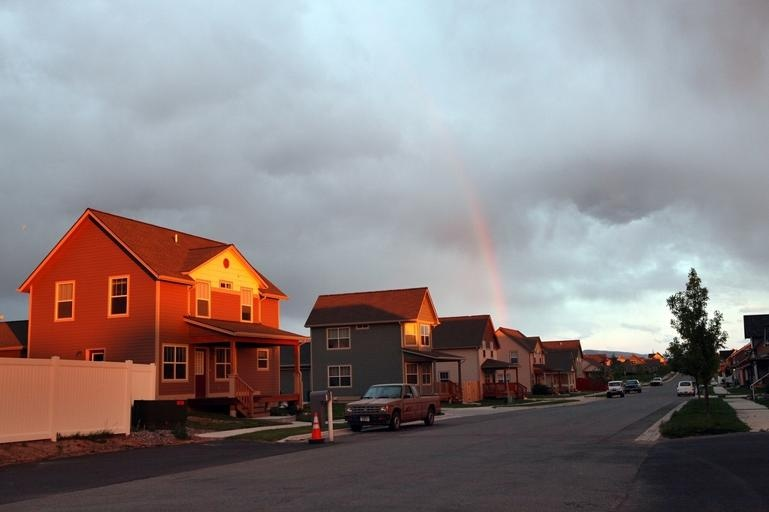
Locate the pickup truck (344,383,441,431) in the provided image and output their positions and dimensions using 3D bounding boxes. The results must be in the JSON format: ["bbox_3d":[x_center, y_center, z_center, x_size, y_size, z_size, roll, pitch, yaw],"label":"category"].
[{"bbox_3d":[0.520,7.625,34.154,2.367,1.652,4.466,-7,-12,26],"label":"pickup truck"}]

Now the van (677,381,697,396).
[{"bbox_3d":[31.197,13.566,68.109,1.678,1.569,2.982,-8,-17,23],"label":"van"}]
